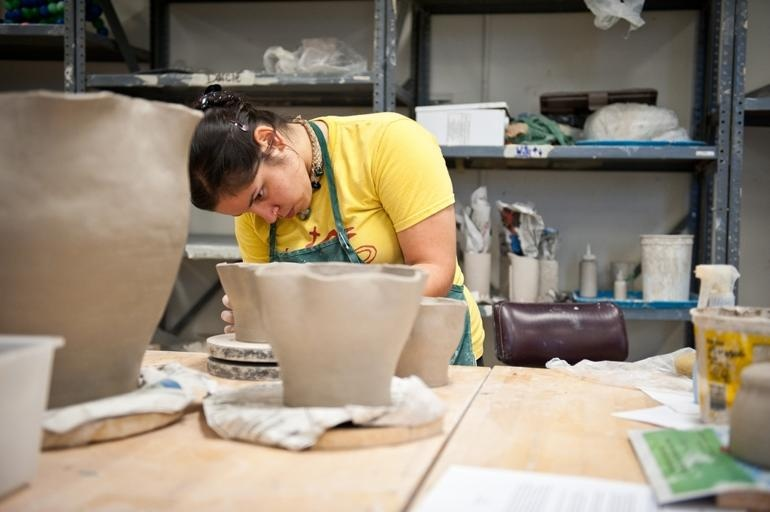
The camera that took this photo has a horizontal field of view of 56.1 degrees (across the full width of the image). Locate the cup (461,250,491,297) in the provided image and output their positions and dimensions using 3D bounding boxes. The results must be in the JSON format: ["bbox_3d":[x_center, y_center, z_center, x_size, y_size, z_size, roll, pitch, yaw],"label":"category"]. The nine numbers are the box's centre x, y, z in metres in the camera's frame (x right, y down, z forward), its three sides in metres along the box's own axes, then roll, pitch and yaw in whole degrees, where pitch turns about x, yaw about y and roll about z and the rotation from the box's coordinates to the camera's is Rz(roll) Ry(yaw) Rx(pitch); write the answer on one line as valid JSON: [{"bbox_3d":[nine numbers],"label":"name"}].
[{"bbox_3d":[0.395,0.077,3.080,0.139,0.273,0.158,1,1,20],"label":"cup"}]

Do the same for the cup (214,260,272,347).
[{"bbox_3d":[-0.319,0.103,1.726,0.156,0.169,0.197,-3,-1,8],"label":"cup"}]

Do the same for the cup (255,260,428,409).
[{"bbox_3d":[-0.077,0.149,1.327,0.275,0.237,0.259,0,1,0],"label":"cup"}]

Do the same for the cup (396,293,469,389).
[{"bbox_3d":[0.101,0.174,1.635,0.158,0.202,0.169,9,4,-1],"label":"cup"}]

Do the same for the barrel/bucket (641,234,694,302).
[{"bbox_3d":[1.150,0.010,2.983,0.209,0.328,0.207,-8,26,4],"label":"barrel/bucket"}]
